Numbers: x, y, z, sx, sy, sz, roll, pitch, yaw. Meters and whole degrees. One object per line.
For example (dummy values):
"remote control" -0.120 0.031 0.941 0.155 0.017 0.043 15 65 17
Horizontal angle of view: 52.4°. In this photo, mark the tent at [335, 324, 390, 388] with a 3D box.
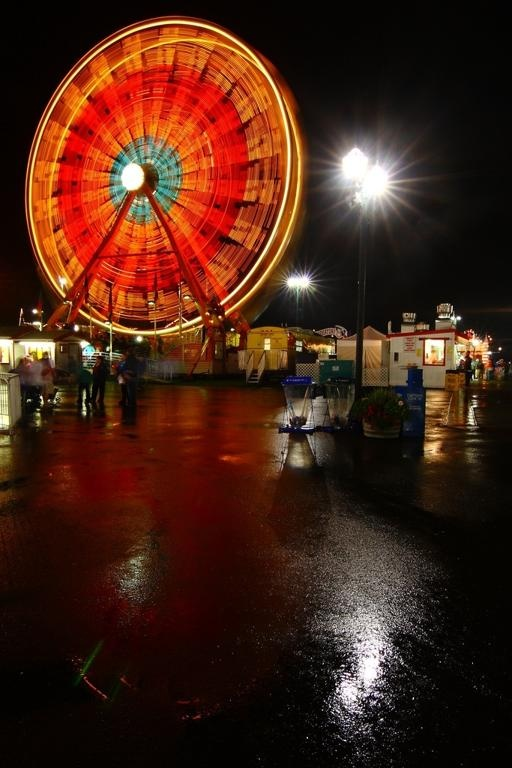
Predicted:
"tent" 5.699 -1.352 26.936 3.310 3.850 3.630 2 11 7

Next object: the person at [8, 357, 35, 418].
"person" -7.059 0.006 15.700 0.484 1.709 2.328 0 1 -24

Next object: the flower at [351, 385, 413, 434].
"flower" 2.717 0.560 11.370 0.853 1.137 0.996 1 5 16
